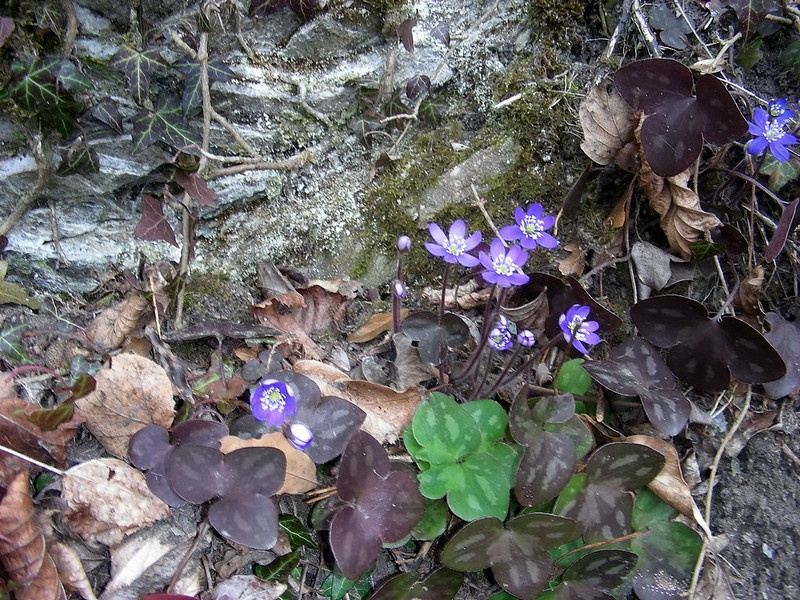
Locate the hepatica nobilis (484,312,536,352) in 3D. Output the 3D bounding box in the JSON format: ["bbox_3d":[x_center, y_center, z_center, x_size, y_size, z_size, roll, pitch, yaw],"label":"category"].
[{"bbox_3d":[0.339,0.124,2.237,0.127,0.054,0.138,17,48,-6],"label":"hepatica nobilis"}]

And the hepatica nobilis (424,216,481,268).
[{"bbox_3d":[0.149,-0.188,2.133,0.168,0.203,0.076,-11,89,1],"label":"hepatica nobilis"}]

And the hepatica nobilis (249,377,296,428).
[{"bbox_3d":[-0.349,0.270,1.957,0.140,0.124,0.059,57,34,-6],"label":"hepatica nobilis"}]
